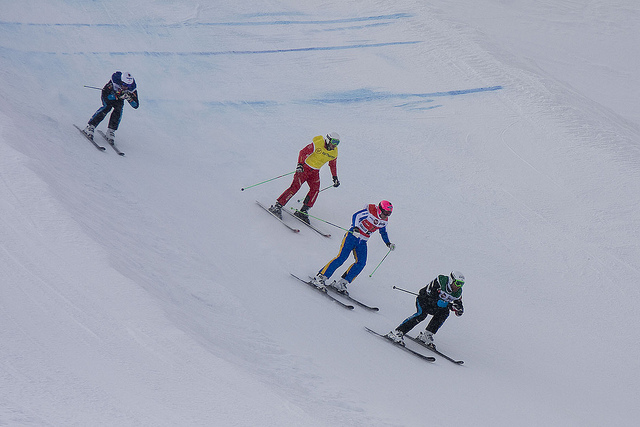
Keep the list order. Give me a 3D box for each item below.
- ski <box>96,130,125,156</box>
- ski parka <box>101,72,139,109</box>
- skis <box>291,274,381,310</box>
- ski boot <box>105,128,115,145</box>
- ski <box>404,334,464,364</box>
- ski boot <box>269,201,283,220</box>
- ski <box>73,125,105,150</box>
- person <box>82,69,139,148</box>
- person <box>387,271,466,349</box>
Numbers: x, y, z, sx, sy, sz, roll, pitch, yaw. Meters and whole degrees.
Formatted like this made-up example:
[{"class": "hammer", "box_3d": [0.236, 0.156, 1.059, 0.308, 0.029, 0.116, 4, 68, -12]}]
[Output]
[{"class": "ski", "box_3d": [-6.045, -2.026, 26.250, 0.117, 0.147, 1.092, -36, 66, -11]}, {"class": "ski parka", "box_3d": [-5.663, -3.495, 25.892, 1.052, 0.979, 0.419, 2, 22, -31]}, {"class": "skis", "box_3d": [0.343, 2.010, 23.381, 1.591, 0.169, 0.168, 28, 36, 4]}, {"class": "ski boot", "box_3d": [-6.008, -2.224, 26.185, 0.238, 0.427, 0.301, 1, 25, -16]}, {"class": "ski", "box_3d": [2.811, 3.372, 22.680, 1.329, 0.133, 0.145, 28, 38, 18]}, {"class": "ski boot", "box_3d": [-1.170, -0.085, 25.304, 0.186, 0.259, 0.611, 37, 6, -48]}, {"class": "ski", "box_3d": [-6.475, -2.137, 25.811, 1.280, 0.131, 0.144, 44, 60, 7]}, {"class": "person", "box_3d": [-5.914, -3.010, 25.983, 1.383, 1.970, 0.465, -6, 28, -30]}, {"class": "person", "box_3d": [2.728, 2.317, 22.452, 1.499, 1.901, 0.635, 0, 25, -18]}]
